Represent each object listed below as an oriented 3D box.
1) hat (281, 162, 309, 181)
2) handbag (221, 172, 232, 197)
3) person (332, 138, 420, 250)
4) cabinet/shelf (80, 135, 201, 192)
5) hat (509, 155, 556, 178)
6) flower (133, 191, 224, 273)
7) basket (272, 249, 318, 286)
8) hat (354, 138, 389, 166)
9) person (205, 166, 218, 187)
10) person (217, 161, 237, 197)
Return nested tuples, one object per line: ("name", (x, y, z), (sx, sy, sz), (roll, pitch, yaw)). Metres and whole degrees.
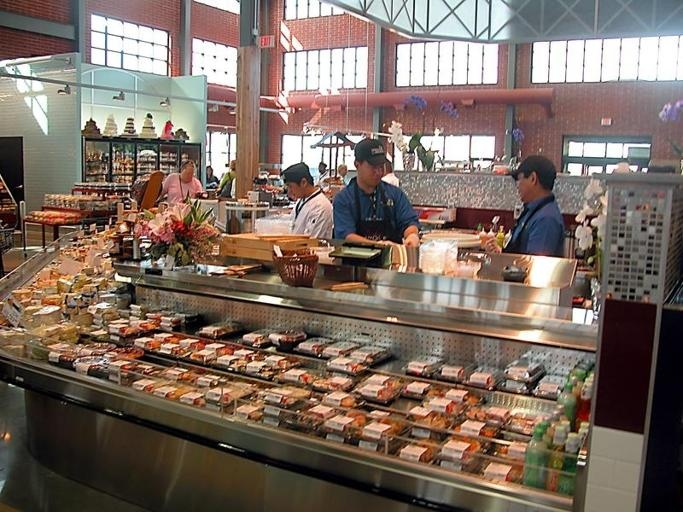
("hat", (-0.424, -0.779, 4.736), (0.189, 0.166, 0.148), (16, 21, 43))
("handbag", (-2.427, -1.494, 11.084), (0.177, 0.529, 0.299), (13, 13, -15))
("person", (0.289, -0.372, 4.213), (0.718, 1.112, 0.753), (-4, 17, -14))
("cabinet/shelf", (-5.360, -2.351, 14.332), (2.907, 1.593, 0.492), (0, 6, -9))
("hat", (1.368, -0.646, 3.727), (0.221, 0.135, 0.167), (14, 16, 23))
("flower", (-1.120, -0.158, 3.705), (0.564, 0.425, 0.523), (2, 3, 40))
("basket", (-0.261, 0.064, 2.923), (0.191, 0.173, 0.231), (0, -3, -40))
("hat", (0.200, -0.796, 3.968), (0.169, 0.142, 0.238), (-8, 25, -22))
("person", (-3.991, -2.475, 16.168), (0.378, 0.608, 1.667), (-1, 10, -14))
("person", (-2.376, -1.626, 11.217), (0.337, 0.855, 0.382), (5, -3, 27))
